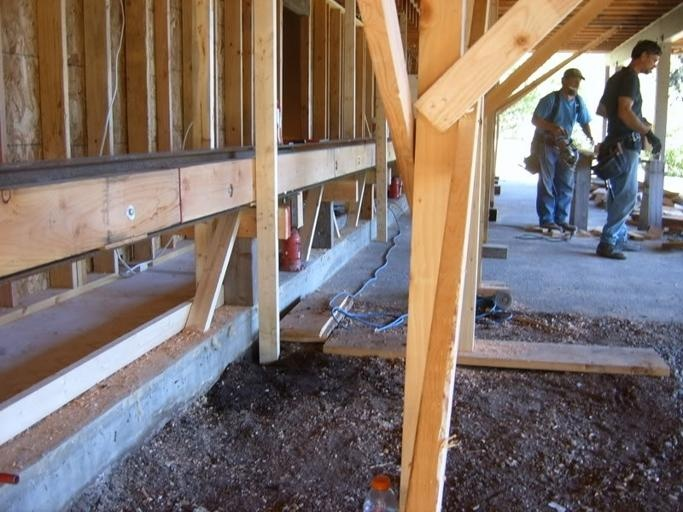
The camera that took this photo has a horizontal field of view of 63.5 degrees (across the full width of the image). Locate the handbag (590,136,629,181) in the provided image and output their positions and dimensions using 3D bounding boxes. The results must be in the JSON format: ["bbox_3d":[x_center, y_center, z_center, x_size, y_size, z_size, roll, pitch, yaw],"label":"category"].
[{"bbox_3d":[2.781,-1.019,5.716,0.120,0.371,0.269,7,-29,-14],"label":"handbag"}]

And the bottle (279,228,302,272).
[{"bbox_3d":[-0.389,-0.045,4.237,0.163,0.313,0.118,1,11,-7],"label":"bottle"}]

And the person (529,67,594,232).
[{"bbox_3d":[2.741,-1.337,7.011,0.643,1.953,0.876,7,12,24],"label":"person"}]

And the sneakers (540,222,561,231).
[{"bbox_3d":[2.633,-0.374,6.995,0.088,0.091,0.186,-3,6,-33],"label":"sneakers"}]

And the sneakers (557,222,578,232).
[{"bbox_3d":[2.841,-0.363,6.930,0.233,0.110,0.090,7,12,35],"label":"sneakers"}]

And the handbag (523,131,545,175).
[{"bbox_3d":[2.491,-1.318,7.096,0.136,0.471,0.308,4,6,12],"label":"handbag"}]

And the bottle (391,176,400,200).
[{"bbox_3d":[0.810,-1.017,8.319,0.165,0.323,0.513,3,13,4],"label":"bottle"}]

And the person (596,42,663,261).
[{"bbox_3d":[2.987,-1.116,5.767,0.617,2.168,0.835,9,13,29],"label":"person"}]

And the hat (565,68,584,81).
[{"bbox_3d":[2.796,-2.187,6.652,0.231,0.140,0.361,8,14,20],"label":"hat"}]
